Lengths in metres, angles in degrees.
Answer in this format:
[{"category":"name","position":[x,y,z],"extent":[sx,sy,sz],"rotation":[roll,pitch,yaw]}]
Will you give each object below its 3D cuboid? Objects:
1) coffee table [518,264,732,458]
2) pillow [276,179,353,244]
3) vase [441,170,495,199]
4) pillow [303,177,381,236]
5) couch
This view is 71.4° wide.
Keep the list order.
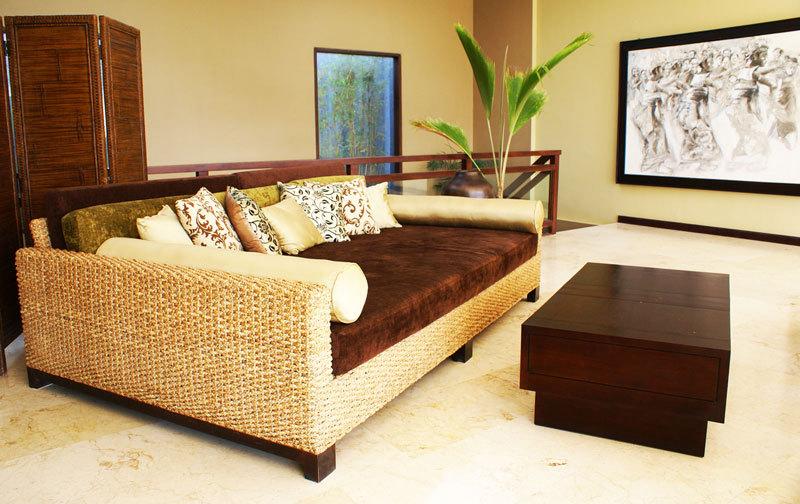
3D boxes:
[{"category":"coffee table","position":[1.363,0.472,3.182],"extent":[0.963,0.447,1.527],"rotation":[3,14,29]},{"category":"pillow","position":[-0.551,-0.296,3.770],"extent":[0.143,0.416,0.483],"rotation":[-31,-13,33]},{"category":"vase","position":[0.660,-0.629,5.416],"extent":[0.417,0.247,0.399],"rotation":[3,-3,-25]},{"category":"pillow","position":[-0.425,-0.292,4.029],"extent":[0.137,0.384,0.459],"rotation":[-24,-9,37]},{"category":"couch","position":[-0.677,0.385,2.827],"extent":[1.048,0.570,1.695],"rotation":[4,10,29]}]
